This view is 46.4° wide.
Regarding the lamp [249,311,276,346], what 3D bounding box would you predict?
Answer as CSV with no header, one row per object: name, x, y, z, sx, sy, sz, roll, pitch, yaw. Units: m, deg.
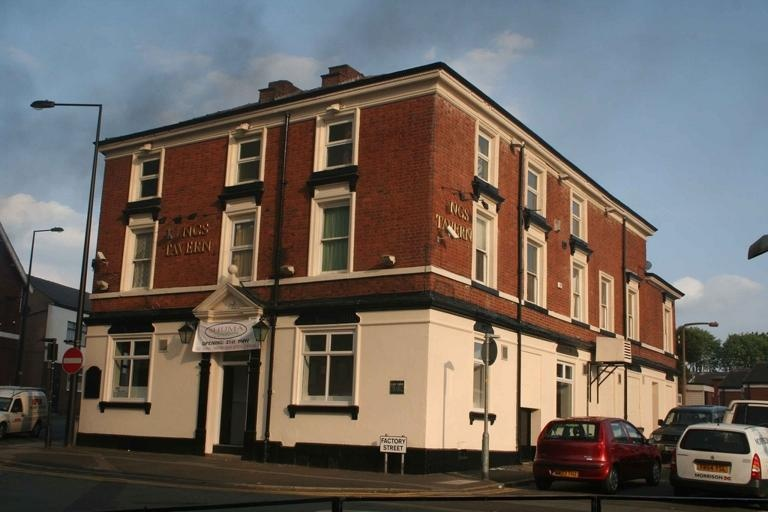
lamp,-4.628,2.819,33.941,0.590,1.192,0.763,-12,-21,38

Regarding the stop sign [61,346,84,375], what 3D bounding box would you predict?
stop sign,-11.891,4.032,34.250,0.637,1.127,1.319,6,-17,-16

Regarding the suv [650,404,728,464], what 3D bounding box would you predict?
suv,13.744,7.707,39.234,2.742,2.398,4.948,-6,-7,38

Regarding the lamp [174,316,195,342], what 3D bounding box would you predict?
lamp,-7.825,2.952,35.637,0.818,1.108,0.387,-9,-19,31
